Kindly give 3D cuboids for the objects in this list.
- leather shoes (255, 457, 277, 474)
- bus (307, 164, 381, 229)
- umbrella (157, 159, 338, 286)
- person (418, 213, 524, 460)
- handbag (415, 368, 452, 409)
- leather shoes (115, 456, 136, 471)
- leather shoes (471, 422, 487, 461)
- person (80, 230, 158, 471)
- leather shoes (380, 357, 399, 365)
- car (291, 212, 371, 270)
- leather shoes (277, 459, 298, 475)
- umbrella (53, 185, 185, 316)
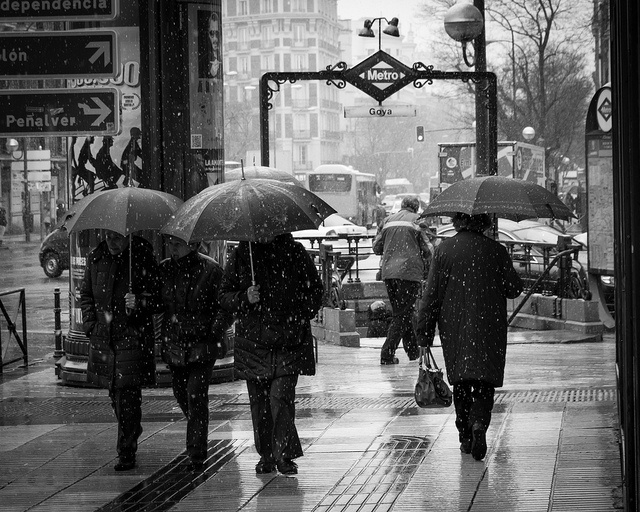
[{"bbox_3d":[-0.507,1.869,13.010,0.167,0.113,0.107,-4,8,-1],"label":"leather shoes"},{"bbox_3d":[1.009,-2.931,65.561,1.593,2.053,6.033,1,4,9],"label":"bus"},{"bbox_3d":[-0.676,-0.240,13.222,1.265,1.193,1.295,9,18,39],"label":"umbrella"},{"bbox_3d":[1.365,0.710,13.359,0.817,2.182,0.703,2,4,41],"label":"person"},{"bbox_3d":[1.049,1.190,13.551,0.213,0.437,0.322,-5,-3,43],"label":"handbag"},{"bbox_3d":[-1.798,1.887,13.267,0.224,0.103,0.086,4,-1,-19],"label":"leather shoes"},{"bbox_3d":[1.420,1.661,13.025,0.130,0.328,0.181,0,3,6],"label":"leather shoes"},{"bbox_3d":[-1.844,0.856,13.371,0.749,2.149,0.478,-1,3,-8],"label":"person"},{"bbox_3d":[0.894,1.347,18.682,0.243,0.122,0.092,-2,7,-25],"label":"leather shoes"},{"bbox_3d":[0.414,-0.403,34.925,1.040,0.819,2.355,0,5,10],"label":"car"},{"bbox_3d":[-0.308,1.862,12.863,0.086,0.109,0.239,4,5,43],"label":"leather shoes"},{"bbox_3d":[-1.796,-0.234,13.700,0.889,0.758,0.844,-11,15,-44],"label":"umbrella"}]
